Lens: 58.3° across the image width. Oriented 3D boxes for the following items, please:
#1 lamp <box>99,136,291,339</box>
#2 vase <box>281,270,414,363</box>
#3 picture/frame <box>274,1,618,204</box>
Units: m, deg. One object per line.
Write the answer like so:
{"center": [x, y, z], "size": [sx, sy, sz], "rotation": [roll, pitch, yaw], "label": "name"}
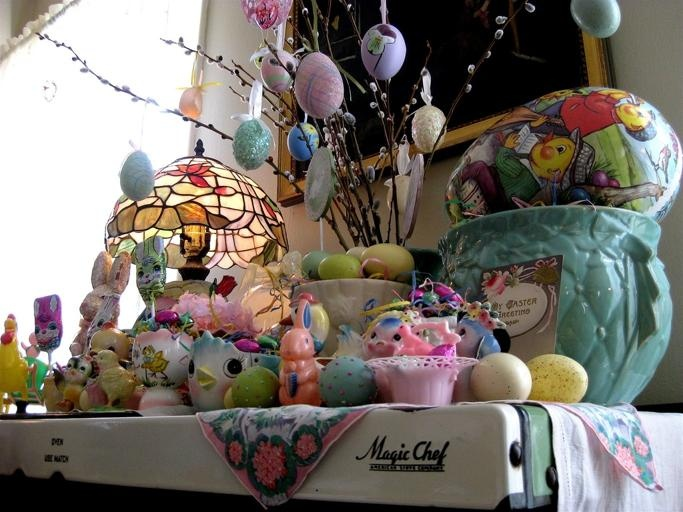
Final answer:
{"center": [-0.360, -0.029, 1.688], "size": [0.376, 0.492, 0.416], "rotation": [0, -18, 1], "label": "lamp"}
{"center": [0.005, 0.109, 0.932], "size": [0.134, 0.110, 0.141], "rotation": [3, -15, 0], "label": "vase"}
{"center": [0.226, -0.317, 1.246], "size": [0.510, 0.340, 0.023], "rotation": [-21, -28, 34], "label": "picture/frame"}
